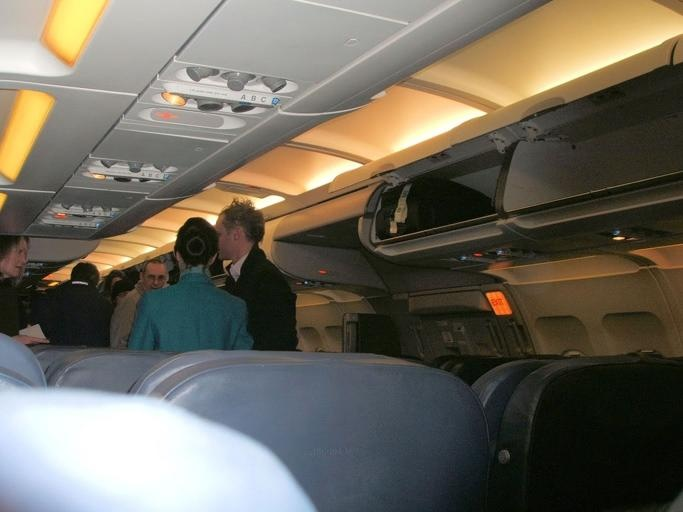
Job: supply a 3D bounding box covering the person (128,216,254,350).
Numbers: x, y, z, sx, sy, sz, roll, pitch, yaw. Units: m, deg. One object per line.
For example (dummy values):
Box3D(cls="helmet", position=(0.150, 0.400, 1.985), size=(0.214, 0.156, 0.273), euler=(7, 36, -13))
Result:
Box3D(cls="person", position=(-0.846, 0.166, 2.932), size=(0.683, 0.751, 0.436), euler=(9, -3, -5))
